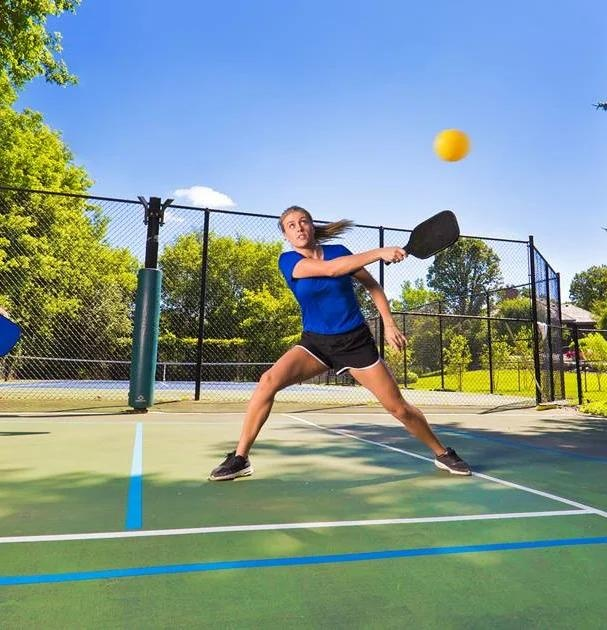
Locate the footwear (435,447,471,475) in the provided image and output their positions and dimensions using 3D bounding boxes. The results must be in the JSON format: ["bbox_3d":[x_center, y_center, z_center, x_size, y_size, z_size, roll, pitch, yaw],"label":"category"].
[{"bbox_3d":[0.886,0.878,3.063,0.096,0.087,0.212,3,-7,-30],"label":"footwear"}]

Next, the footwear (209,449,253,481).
[{"bbox_3d":[-0.388,0.833,2.829,0.105,0.107,0.249,-12,-16,41],"label":"footwear"}]

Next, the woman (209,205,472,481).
[{"bbox_3d":[0.298,0.085,2.930,1.762,1.497,0.807,-4,-7,44],"label":"woman"}]
